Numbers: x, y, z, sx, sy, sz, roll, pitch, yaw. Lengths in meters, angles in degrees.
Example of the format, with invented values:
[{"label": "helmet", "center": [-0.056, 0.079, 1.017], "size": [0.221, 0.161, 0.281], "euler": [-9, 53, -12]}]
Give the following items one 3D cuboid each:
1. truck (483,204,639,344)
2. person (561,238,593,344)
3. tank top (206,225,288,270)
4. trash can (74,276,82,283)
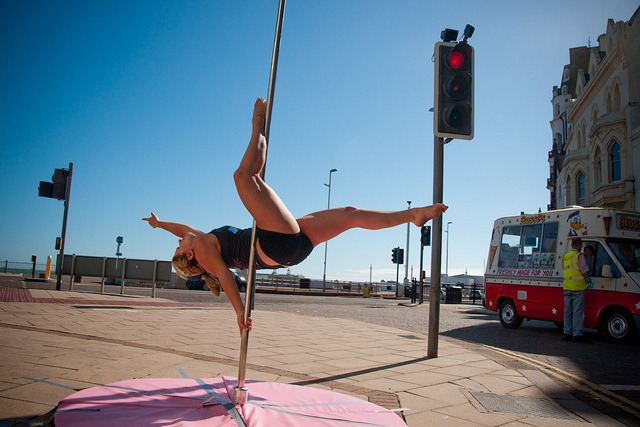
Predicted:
[{"label": "truck", "center": [6.860, 1.773, 12.194], "size": [2.703, 3.330, 4.776], "euler": [7, -13, -24]}, {"label": "person", "center": [6.685, 1.987, 11.554], "size": [0.688, 2.657, 0.846], "euler": [-3, -9, 31]}, {"label": "tank top", "center": [-0.998, 0.429, 5.600], "size": [0.995, 0.423, 0.776], "euler": [6, -7, 14]}, {"label": "trash can", "center": [-14.851, 4.034, 26.921], "size": [0.335, 0.332, 1.825], "euler": [6, -10, -31]}]
